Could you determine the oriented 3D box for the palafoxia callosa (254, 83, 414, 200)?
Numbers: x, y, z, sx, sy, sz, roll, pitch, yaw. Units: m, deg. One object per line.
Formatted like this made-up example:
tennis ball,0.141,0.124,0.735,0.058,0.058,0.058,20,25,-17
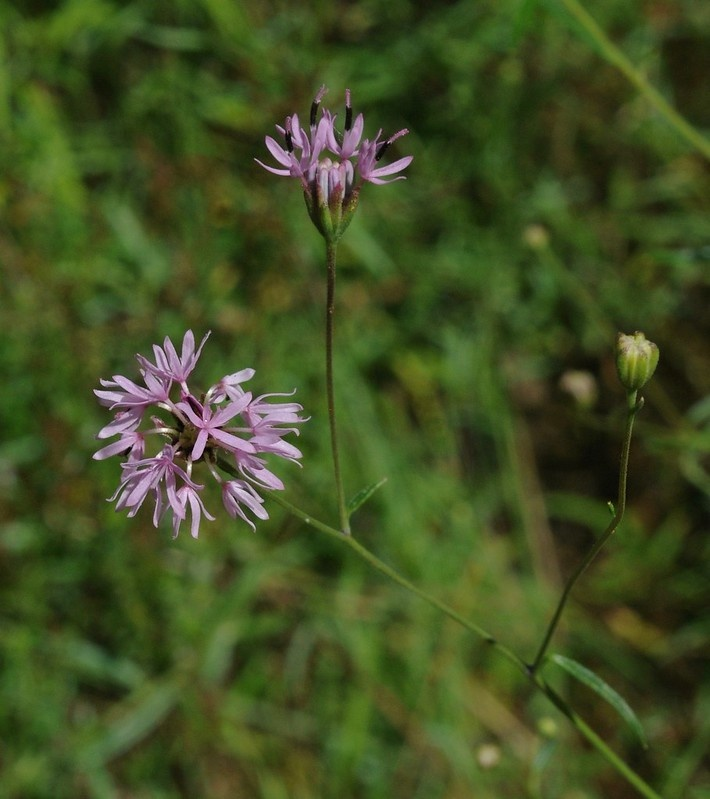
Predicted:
palafoxia callosa,-0.009,-0.475,1.566,0.211,0.232,0.088,11,82,16
